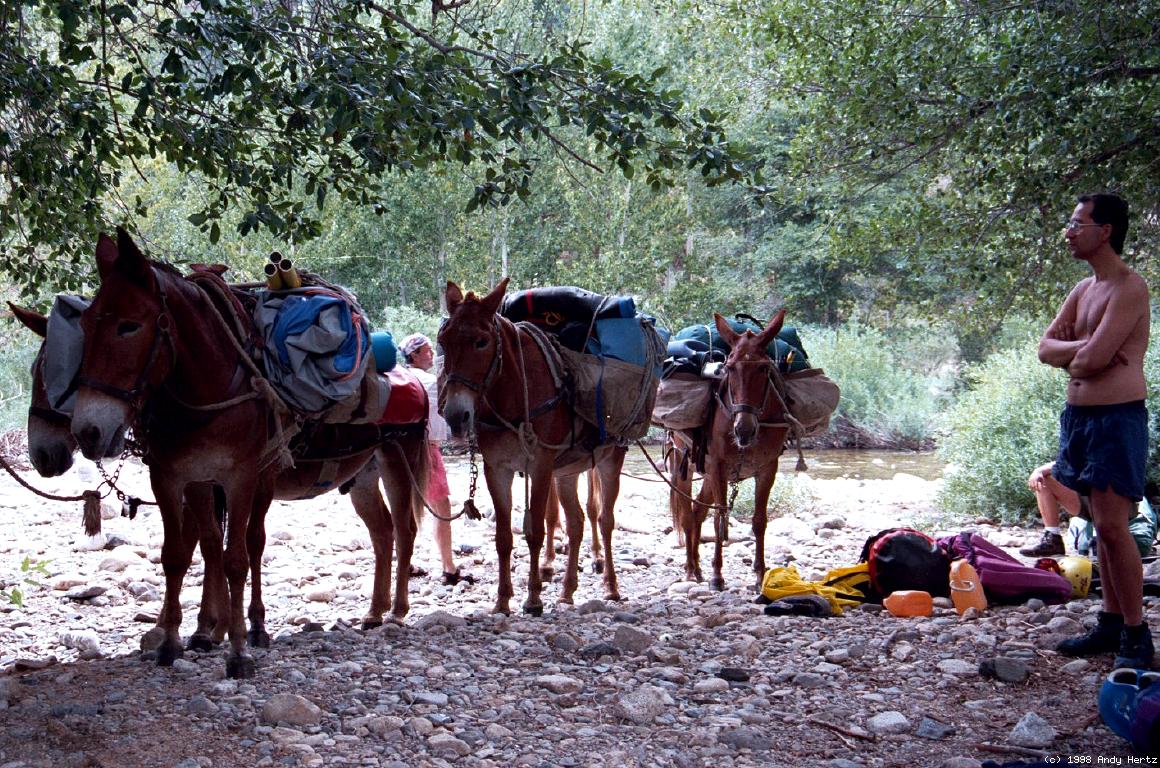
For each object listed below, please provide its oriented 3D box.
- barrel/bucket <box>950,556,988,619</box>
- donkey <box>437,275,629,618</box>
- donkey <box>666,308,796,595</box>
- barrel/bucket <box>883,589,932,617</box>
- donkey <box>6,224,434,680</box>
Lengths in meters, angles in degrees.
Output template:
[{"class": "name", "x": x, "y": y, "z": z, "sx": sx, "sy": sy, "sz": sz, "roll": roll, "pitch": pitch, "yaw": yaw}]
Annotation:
[{"class": "barrel/bucket", "x": 3.791, "y": 1.975, "z": 11.848, "sx": 0.346, "sy": 0.478, "sz": 0.422, "roll": 2, "pitch": 8, "yaw": 8}, {"class": "donkey", "x": -0.553, "y": 0.639, "z": 12.465, "sx": 0.821, "sy": 3.448, "sz": 2.214, "roll": 9, "pitch": 11, "yaw": 42}, {"class": "donkey", "x": 1.731, "y": 0.728, "z": 13.958, "sx": 1.159, "sy": 3.204, "sz": 1.936, "roll": 1, "pitch": 8, "yaw": -3}, {"class": "barrel/bucket", "x": 3.213, "y": 2.141, "z": 11.932, "sx": 0.481, "sy": 0.231, "sz": 0.386, "roll": 3, "pitch": 7, "yaw": 16}, {"class": "donkey", "x": -2.901, "y": 0.556, "z": 10.853, "sx": 1.238, "sy": 3.818, "sz": 3.369, "roll": 7, "pitch": 10, "yaw": 35}]
